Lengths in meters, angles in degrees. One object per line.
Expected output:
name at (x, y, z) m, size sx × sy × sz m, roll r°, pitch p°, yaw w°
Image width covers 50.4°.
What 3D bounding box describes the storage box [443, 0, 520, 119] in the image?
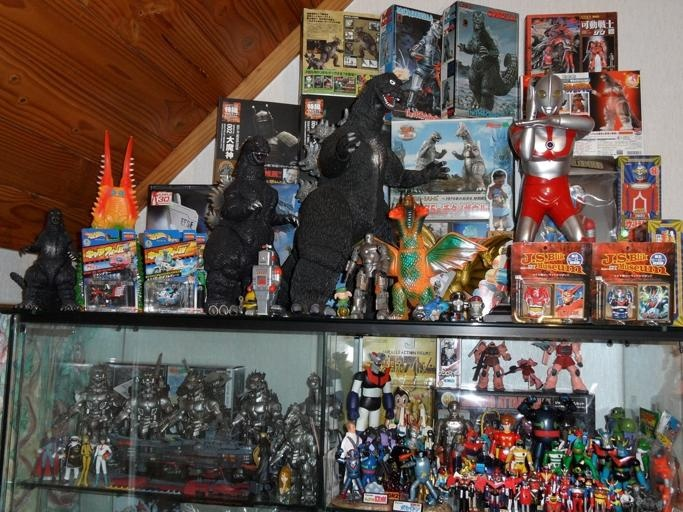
storage box at (0.569, -0.809, 3.010) m, size 0.317 × 0.490 × 0.139 m, roll 0°, pitch -4°, yaw 13°
